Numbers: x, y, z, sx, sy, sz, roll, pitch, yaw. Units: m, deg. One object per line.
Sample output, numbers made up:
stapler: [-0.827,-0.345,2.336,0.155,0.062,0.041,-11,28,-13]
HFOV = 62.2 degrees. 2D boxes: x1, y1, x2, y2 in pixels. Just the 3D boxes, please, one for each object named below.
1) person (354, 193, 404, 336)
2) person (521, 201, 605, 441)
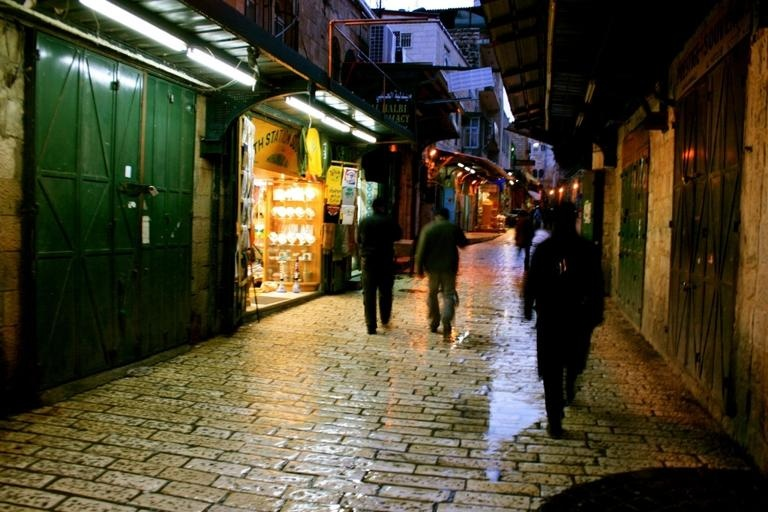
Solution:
person: [-0.177,0.162,11.636,0.592,2.372,1.040,4,12,18]
person: [2.177,0.678,7.574,0.795,2.630,0.788,-3,12,-19]
